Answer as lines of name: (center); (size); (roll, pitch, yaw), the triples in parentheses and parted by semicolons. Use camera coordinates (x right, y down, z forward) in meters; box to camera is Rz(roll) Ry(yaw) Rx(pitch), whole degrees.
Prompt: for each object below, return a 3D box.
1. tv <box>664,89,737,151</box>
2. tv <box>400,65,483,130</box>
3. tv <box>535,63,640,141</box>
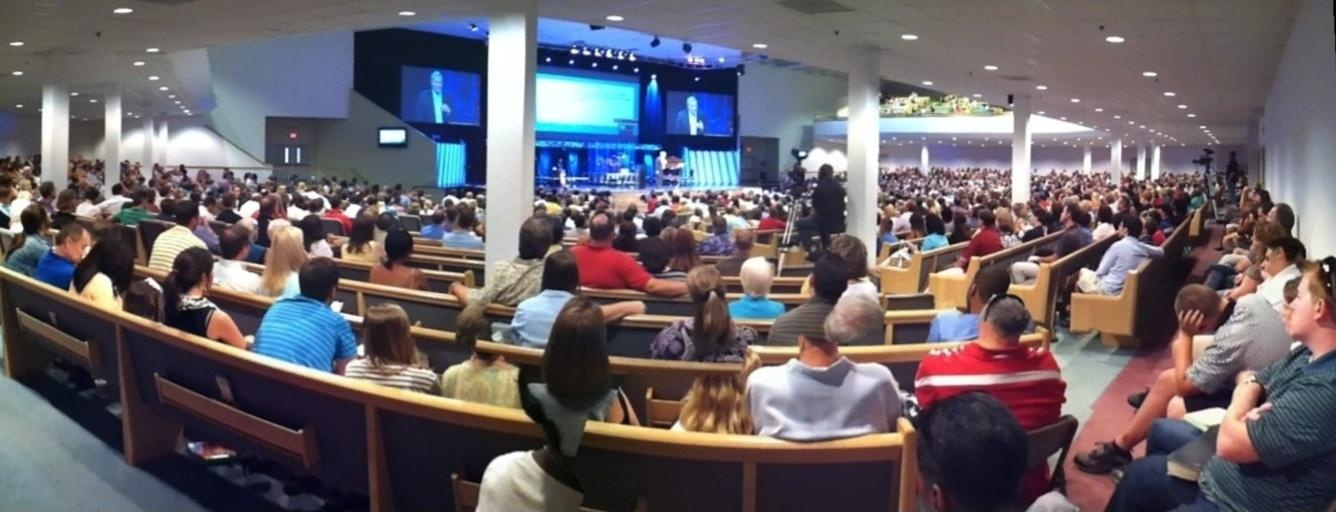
tv: (1.561, -7.892, 39.468); (5.032, 2.564, 0.239); (2, -5, -32)
tv: (-10.735, -7.466, 32.137); (4.568, 2.366, 0.172); (-1, 0, -36)
tv: (-4.290, -8.009, 36.506); (5.494, 3.549, 0.524); (-3, 8, -26)
